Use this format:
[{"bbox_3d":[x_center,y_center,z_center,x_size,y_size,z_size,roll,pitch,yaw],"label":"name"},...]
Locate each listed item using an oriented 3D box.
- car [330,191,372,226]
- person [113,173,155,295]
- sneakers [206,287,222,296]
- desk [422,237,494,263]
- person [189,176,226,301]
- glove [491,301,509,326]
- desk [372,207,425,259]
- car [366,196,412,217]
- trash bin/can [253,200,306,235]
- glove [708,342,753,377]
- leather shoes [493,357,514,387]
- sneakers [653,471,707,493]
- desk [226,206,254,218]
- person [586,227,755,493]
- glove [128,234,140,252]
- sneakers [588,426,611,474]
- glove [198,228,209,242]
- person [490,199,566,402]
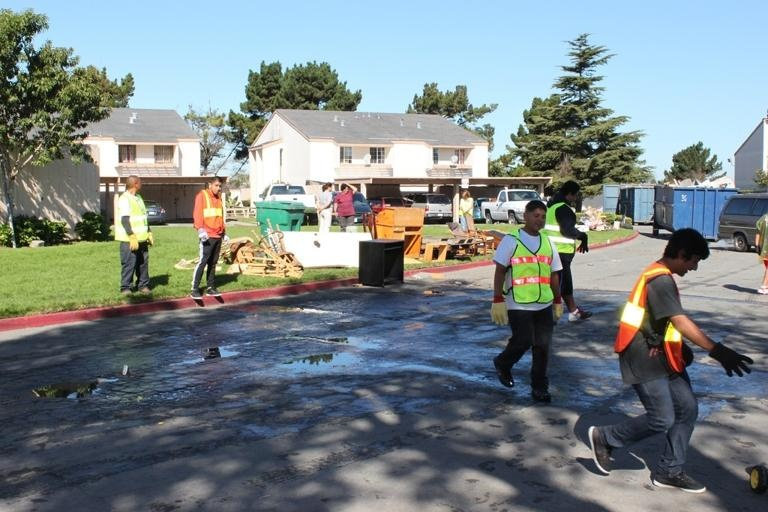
[{"bbox_3d":[-1.594,-2.890,29.895,2.259,1.460,3.434,-1,3,-6],"label":"car"},{"bbox_3d":[-5.764,-0.476,11.835,0.748,2.623,0.762,7,10,36],"label":"person"},{"bbox_3d":[-4.040,0.856,12.196,0.379,0.130,0.172,1,5,27],"label":"sneakers"},{"bbox_3d":[2.821,-0.216,19.919,4.156,0.468,0.878,-4,11,-34],"label":"desk"},{"bbox_3d":[-4.147,-0.397,12.091,0.768,2.743,1.488,-2,9,-17],"label":"person"},{"bbox_3d":[1.361,0.675,6.110,0.309,0.243,0.102,-1,0,13],"label":"glove"},{"bbox_3d":[0.529,-0.906,19.432,2.163,2.048,2.025,-2,9,-26],"label":"desk"},{"bbox_3d":[0.298,-3.999,39.560,3.971,1.506,2.487,3,6,42],"label":"car"},{"bbox_3d":[-4.278,-1.530,21.545,2.109,1.242,1.497,9,7,41],"label":"trash bin/can"},{"bbox_3d":[2.606,0.797,3.902,0.267,0.267,0.234,2,8,6],"label":"glove"},{"bbox_3d":[1.483,1.470,6.539,0.195,0.405,0.191,-19,10,37],"label":"leather shoes"},{"bbox_3d":[2.396,1.829,4.248,0.407,0.121,0.153,1,3,10],"label":"sneakers"},{"bbox_3d":[-14.650,-4.526,52.988,2.400,0.941,4.499,-1,7,-10],"label":"desk"},{"bbox_3d":[2.317,0.860,4.292,1.003,2.146,0.563,6,10,30],"label":"person"},{"bbox_3d":[-5.609,-0.300,11.560,0.295,0.311,0.316,-5,-9,2],"label":"glove"},{"bbox_3d":[1.867,1.686,4.567,0.204,0.389,0.161,-16,0,18],"label":"sneakers"},{"bbox_3d":[-4.025,-0.451,11.426,0.217,0.293,0.140,-41,-12,2],"label":"glove"},{"bbox_3d":[1.688,0.517,6.203,0.762,2.339,0.652,3,9,15],"label":"person"}]
